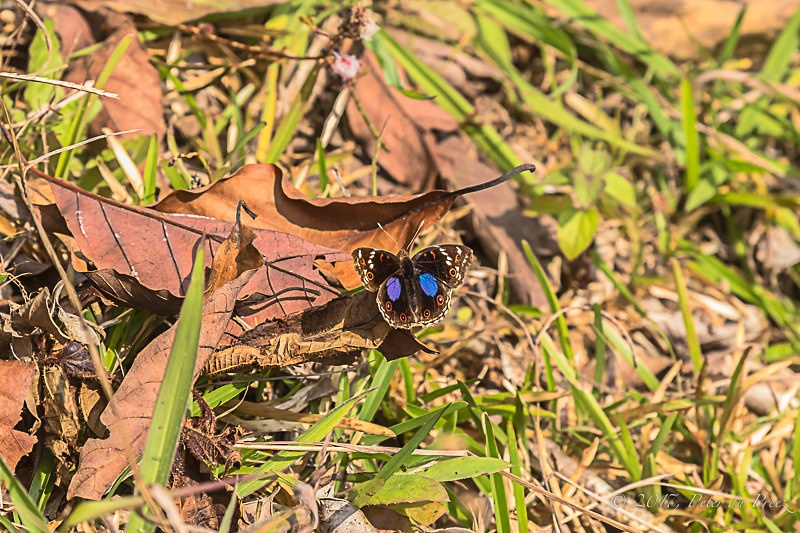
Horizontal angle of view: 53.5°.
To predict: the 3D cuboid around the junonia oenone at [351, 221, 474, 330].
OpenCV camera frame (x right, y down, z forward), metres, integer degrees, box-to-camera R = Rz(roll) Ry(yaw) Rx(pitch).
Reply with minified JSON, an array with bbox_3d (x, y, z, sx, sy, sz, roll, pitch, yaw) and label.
[{"bbox_3d":[0.038,0.013,2.258,0.401,0.281,0.109,-4,5,-33],"label":"junonia oenone"}]
